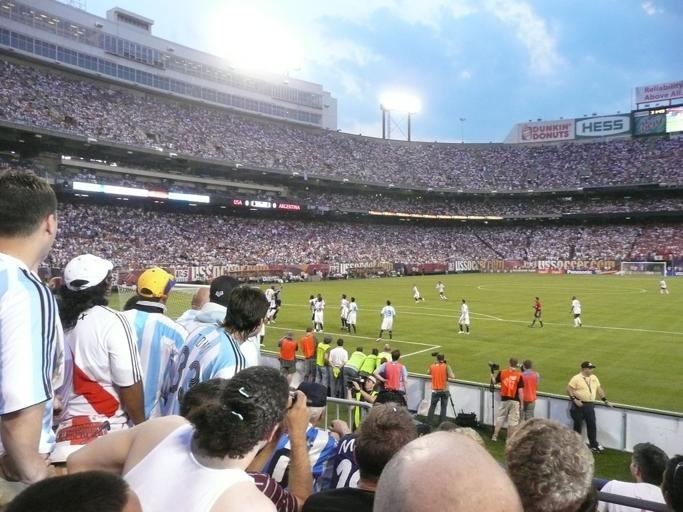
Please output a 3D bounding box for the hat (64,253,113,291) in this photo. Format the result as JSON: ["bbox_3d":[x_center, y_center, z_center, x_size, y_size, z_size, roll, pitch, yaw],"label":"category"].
[{"bbox_3d":[-2.585,0.179,5.808,0.319,0.226,0.448,37,40,11],"label":"hat"}]

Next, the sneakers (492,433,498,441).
[{"bbox_3d":[3.349,3.994,12.313,0.089,0.090,0.246,2,-6,18],"label":"sneakers"}]

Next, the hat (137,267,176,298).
[{"bbox_3d":[-2.095,0.306,6.304,0.288,0.212,0.426,8,28,5],"label":"hat"}]
